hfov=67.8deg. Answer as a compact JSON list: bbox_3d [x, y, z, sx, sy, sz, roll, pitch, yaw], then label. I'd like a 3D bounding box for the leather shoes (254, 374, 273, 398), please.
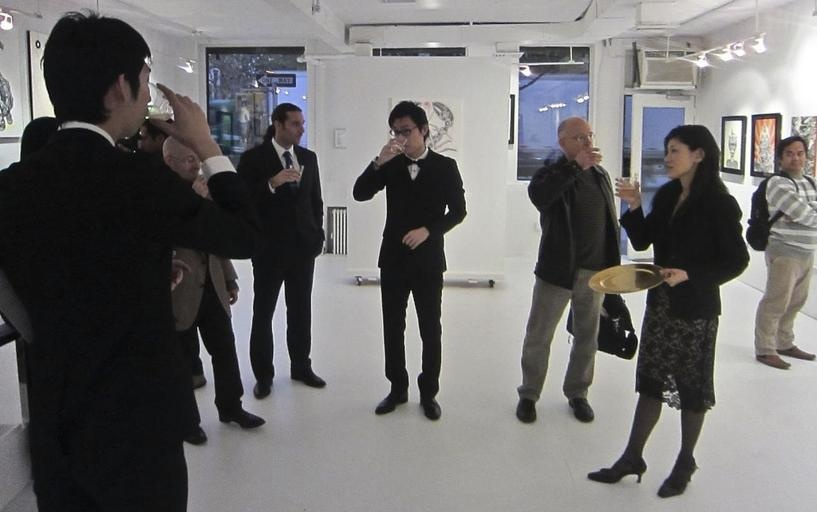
[{"bbox_3d":[-1.067,0.961,4.462,0.079,0.143,0.204,2,7,4],"label":"leather shoes"}]

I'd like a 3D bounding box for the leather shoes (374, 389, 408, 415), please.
[{"bbox_3d":[-0.126,1.020,4.314,0.284,0.110,0.096,-14,13,-40],"label":"leather shoes"}]

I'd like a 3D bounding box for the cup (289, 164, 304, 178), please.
[{"bbox_3d":[-0.802,-0.618,4.408,0.115,0.120,0.115,-1,2,0],"label":"cup"}]

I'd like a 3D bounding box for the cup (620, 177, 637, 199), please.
[{"bbox_3d":[1.288,-0.408,3.611,0.112,0.112,0.107,0,3,0],"label":"cup"}]

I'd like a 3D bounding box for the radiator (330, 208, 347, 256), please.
[{"bbox_3d":[-1.121,-0.403,9.463,0.245,0.696,0.137,4,14,15],"label":"radiator"}]

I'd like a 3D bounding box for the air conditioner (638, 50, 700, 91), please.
[{"bbox_3d":[3.792,-2.703,8.935,0.846,0.597,0.281,0,9,8],"label":"air conditioner"}]

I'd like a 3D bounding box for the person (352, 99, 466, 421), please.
[{"bbox_3d":[0.014,0.019,4.190,0.715,2.089,0.601,1,13,2],"label":"person"}]

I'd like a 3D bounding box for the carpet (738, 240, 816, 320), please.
[{"bbox_3d":[3.370,0.237,5.522,0.252,0.330,0.760,-21,-30,40],"label":"carpet"}]

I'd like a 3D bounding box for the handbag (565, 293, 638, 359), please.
[{"bbox_3d":[1.303,0.463,3.879,0.324,0.384,0.164,25,17,36],"label":"handbag"}]

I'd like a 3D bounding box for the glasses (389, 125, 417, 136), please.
[{"bbox_3d":[-0.068,-0.852,4.144,0.102,0.060,0.202,-10,17,-35],"label":"glasses"}]

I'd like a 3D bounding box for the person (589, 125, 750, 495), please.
[{"bbox_3d":[1.492,0.311,3.345,0.571,1.988,0.505,8,15,29],"label":"person"}]

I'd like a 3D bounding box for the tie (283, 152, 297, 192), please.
[{"bbox_3d":[-0.890,-0.634,4.496,0.080,0.243,0.177,-3,5,-27],"label":"tie"}]

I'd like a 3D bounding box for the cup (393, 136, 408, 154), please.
[{"bbox_3d":[-0.066,-0.749,4.099,0.064,0.110,0.114,11,17,38],"label":"cup"}]

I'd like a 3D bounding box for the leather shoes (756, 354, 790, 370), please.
[{"bbox_3d":[3.079,0.877,5.159,0.095,0.099,0.256,-4,9,-27],"label":"leather shoes"}]
